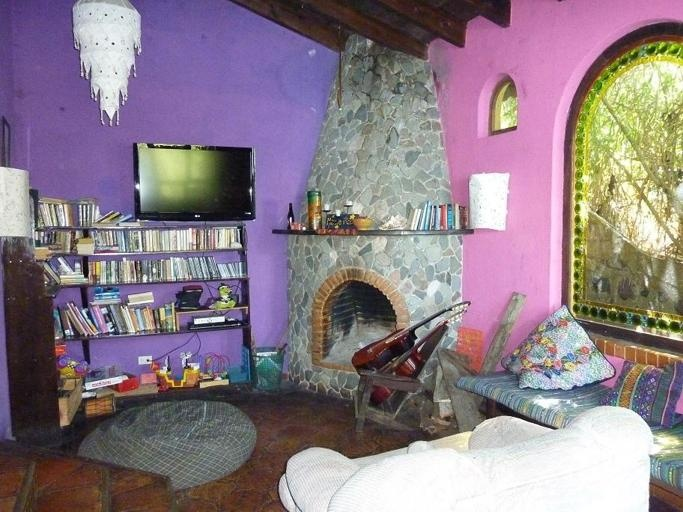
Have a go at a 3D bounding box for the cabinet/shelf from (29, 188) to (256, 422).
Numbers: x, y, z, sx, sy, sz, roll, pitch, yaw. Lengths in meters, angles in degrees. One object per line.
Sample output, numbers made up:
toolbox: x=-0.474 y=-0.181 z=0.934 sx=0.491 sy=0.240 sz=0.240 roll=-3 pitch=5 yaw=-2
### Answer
cabinet/shelf: x=-2.008 y=0.448 z=5.063 sx=1.871 sy=1.828 sz=0.581 roll=-5 pitch=8 yaw=-20

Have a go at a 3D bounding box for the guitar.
guitar: x=0.502 y=0.851 z=4.527 sx=1.272 sy=0.355 sz=0.617 roll=-36 pitch=13 yaw=-15

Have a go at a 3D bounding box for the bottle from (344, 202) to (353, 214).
bottle: x=0.077 y=-0.483 z=5.194 sx=0.105 sy=0.129 sz=0.110 roll=-1 pitch=-3 yaw=-15

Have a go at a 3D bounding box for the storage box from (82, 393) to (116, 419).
storage box: x=-2.233 y=1.398 z=4.779 sx=0.271 sy=0.207 sz=0.203 roll=-12 pitch=21 yaw=-31

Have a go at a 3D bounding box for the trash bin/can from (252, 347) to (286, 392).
trash bin/can: x=-0.760 y=1.216 z=5.481 sx=0.369 sy=0.352 sz=0.344 roll=3 pitch=-4 yaw=-30

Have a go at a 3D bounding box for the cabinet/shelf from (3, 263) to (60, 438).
cabinet/shelf: x=-2.518 y=0.793 z=4.201 sx=0.344 sy=1.467 sz=0.293 roll=-4 pitch=11 yaw=-27

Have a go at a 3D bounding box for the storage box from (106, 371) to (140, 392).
storage box: x=-2.171 y=1.264 z=5.254 sx=0.181 sy=0.123 sz=0.183 roll=-1 pitch=1 yaw=43

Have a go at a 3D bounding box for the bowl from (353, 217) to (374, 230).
bowl: x=0.219 y=-0.314 z=4.988 sx=0.196 sy=0.111 sz=0.218 roll=1 pitch=10 yaw=3

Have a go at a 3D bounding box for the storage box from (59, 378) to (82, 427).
storage box: x=-2.397 y=1.295 z=4.559 sx=0.111 sy=0.149 sz=0.401 roll=-1 pitch=13 yaw=-11
